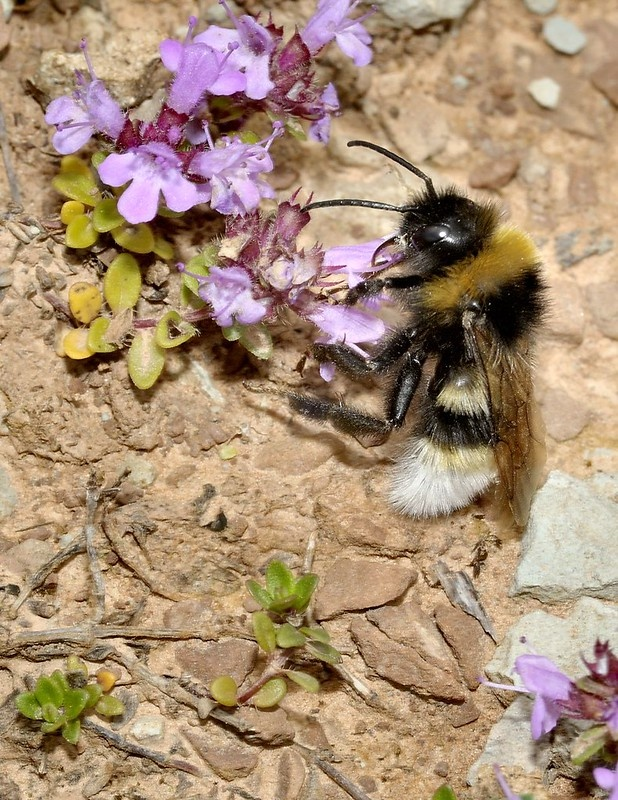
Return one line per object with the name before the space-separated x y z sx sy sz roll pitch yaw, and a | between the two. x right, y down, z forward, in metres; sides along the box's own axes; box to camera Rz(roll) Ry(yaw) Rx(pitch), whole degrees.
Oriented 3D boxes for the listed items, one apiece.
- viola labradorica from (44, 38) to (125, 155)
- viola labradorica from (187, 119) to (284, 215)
viola labradorica | -0.732 -0.912 3.010 0.229 0.422 0.361 -6 46 -15
viola labradorica | -0.231 -0.710 2.947 0.333 0.290 0.131 -13 56 -19
